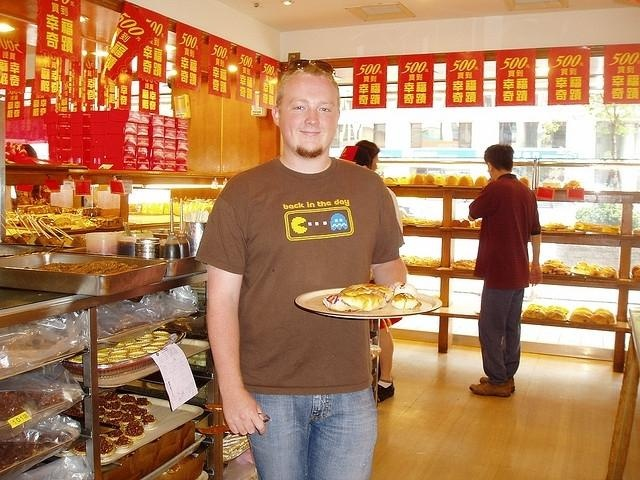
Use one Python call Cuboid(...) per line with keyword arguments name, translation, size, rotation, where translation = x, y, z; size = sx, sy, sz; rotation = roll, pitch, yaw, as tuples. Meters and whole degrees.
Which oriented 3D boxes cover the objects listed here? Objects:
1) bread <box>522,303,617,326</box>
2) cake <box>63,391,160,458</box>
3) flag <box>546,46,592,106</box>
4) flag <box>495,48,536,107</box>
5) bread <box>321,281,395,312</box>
Cuboid(name="bread", translation=(2.431, 0.743, 4.715), size=(0.810, 0.160, 0.479), rotation=(1, 6, 13))
Cuboid(name="cake", translation=(-0.842, 0.683, 2.053), size=(0.237, 0.054, 0.591), rotation=(4, -3, -35))
Cuboid(name="flag", translation=(2.456, -1.625, 4.729), size=(0.377, 0.559, 0.117), rotation=(3, 8, 12))
Cuboid(name="flag", translation=(1.985, -1.657, 4.872), size=(0.377, 0.570, 0.132), rotation=(3, 8, 14))
Cuboid(name="bread", translation=(0.116, 0.165, 1.528), size=(0.244, 0.074, 0.216), rotation=(1, 7, -4))
